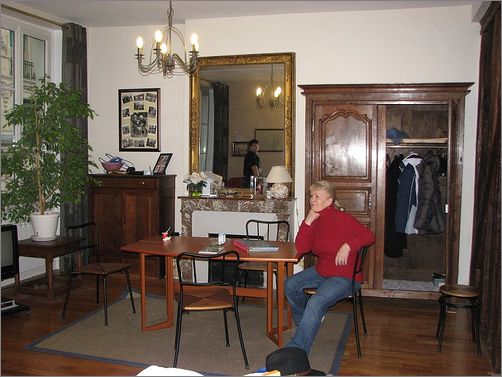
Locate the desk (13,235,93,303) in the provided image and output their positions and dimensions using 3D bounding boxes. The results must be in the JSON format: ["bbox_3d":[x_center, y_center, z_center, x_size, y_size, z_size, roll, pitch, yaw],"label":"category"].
[{"bbox_3d":[-2.762,0.965,5.803,0.824,0.890,0.936,2,3,24],"label":"desk"}]

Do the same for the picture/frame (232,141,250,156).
[{"bbox_3d":[-0.139,-0.590,6.067,0.206,0.188,0.016,2,2,11],"label":"picture/frame"}]

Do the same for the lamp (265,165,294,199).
[{"bbox_3d":[0.371,-0.109,5.822,0.400,0.464,0.412,-3,7,-18],"label":"lamp"}]

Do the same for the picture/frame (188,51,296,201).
[{"bbox_3d":[-0.063,-0.917,5.961,2.043,2.516,0.105,1,1,19],"label":"picture/frame"}]

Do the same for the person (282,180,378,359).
[{"bbox_3d":[0.690,0.780,4.092,0.935,1.686,0.650,-2,5,-33],"label":"person"}]

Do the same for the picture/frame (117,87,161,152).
[{"bbox_3d":[-1.749,-1.137,6.601,0.970,1.357,0.050,0,1,8],"label":"picture/frame"}]

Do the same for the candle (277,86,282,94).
[{"bbox_3d":[0.407,-1.398,5.880,0.063,0.090,0.010,1,4,3],"label":"candle"}]

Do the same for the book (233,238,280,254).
[{"bbox_3d":[0.064,0.611,4.377,0.435,0.053,0.477,0,4,-15],"label":"book"}]

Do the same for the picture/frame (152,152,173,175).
[{"bbox_3d":[-1.370,-0.389,6.490,0.275,0.384,0.200,8,-6,22],"label":"picture/frame"}]

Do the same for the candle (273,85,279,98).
[{"bbox_3d":[0.361,-1.361,5.874,0.078,0.122,0.024,22,8,25],"label":"candle"}]

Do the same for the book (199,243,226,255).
[{"bbox_3d":[-0.385,0.626,4.170,0.206,0.039,0.371,-3,0,12],"label":"book"}]

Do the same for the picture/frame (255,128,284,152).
[{"bbox_3d":[0.284,-0.701,5.943,0.316,0.243,0.015,2,7,16],"label":"picture/frame"}]

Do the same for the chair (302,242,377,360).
[{"bbox_3d":[0.999,1.156,4.850,0.983,1.681,0.937,1,-2,11],"label":"chair"}]

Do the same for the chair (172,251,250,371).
[{"bbox_3d":[-0.422,1.313,4.357,0.832,1.305,0.828,-1,16,-8],"label":"chair"}]
